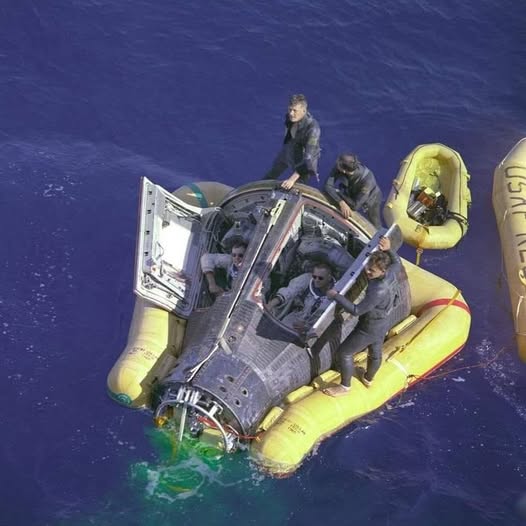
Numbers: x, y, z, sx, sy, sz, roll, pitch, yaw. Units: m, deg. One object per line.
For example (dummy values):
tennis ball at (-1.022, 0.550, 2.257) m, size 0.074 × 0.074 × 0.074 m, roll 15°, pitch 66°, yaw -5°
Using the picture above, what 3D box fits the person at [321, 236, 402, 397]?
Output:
person at (1.485, 0.903, 12.011) m, size 1.100 × 2.366 × 1.199 m, roll 34°, pitch 54°, yaw 19°

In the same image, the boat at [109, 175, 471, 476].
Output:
boat at (-0.153, 1.024, 12.204) m, size 5.004 × 2.011 × 5.002 m, roll 24°, pitch 46°, yaw 20°

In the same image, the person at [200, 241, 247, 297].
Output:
person at (-0.656, 0.084, 13.132) m, size 0.734 × 0.304 × 0.886 m, roll 20°, pitch 95°, yaw 12°
